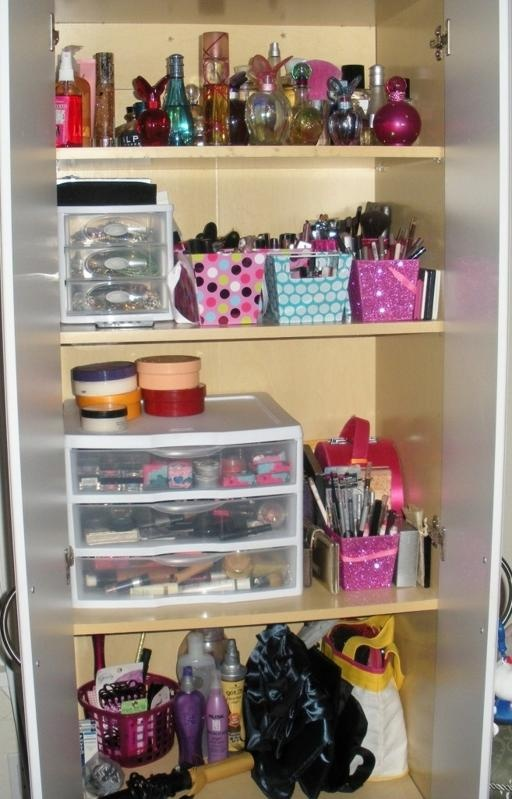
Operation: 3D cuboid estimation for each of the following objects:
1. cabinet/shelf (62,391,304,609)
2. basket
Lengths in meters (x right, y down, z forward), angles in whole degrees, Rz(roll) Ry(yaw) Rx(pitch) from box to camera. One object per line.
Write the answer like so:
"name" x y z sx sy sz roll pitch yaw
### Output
"cabinet/shelf" -0.140 0.181 1.311 0.419 0.327 0.300 0 13 -5
"basket" -0.268 0.674 1.442 0.174 0.120 0.162 3 10 13
